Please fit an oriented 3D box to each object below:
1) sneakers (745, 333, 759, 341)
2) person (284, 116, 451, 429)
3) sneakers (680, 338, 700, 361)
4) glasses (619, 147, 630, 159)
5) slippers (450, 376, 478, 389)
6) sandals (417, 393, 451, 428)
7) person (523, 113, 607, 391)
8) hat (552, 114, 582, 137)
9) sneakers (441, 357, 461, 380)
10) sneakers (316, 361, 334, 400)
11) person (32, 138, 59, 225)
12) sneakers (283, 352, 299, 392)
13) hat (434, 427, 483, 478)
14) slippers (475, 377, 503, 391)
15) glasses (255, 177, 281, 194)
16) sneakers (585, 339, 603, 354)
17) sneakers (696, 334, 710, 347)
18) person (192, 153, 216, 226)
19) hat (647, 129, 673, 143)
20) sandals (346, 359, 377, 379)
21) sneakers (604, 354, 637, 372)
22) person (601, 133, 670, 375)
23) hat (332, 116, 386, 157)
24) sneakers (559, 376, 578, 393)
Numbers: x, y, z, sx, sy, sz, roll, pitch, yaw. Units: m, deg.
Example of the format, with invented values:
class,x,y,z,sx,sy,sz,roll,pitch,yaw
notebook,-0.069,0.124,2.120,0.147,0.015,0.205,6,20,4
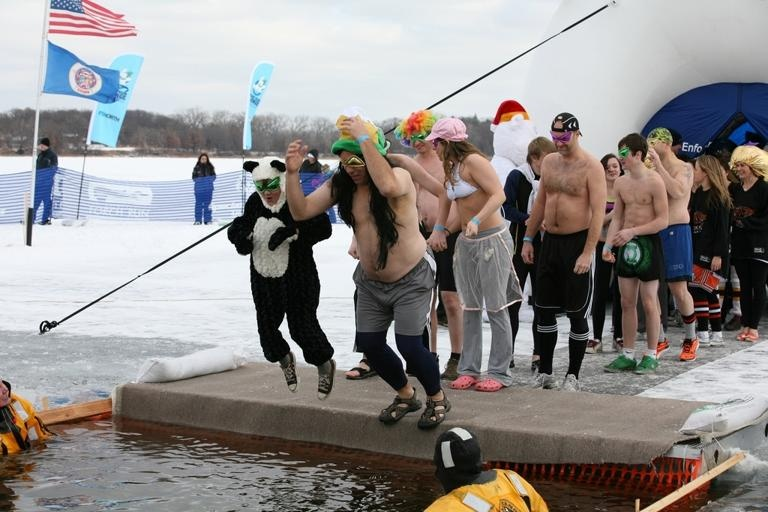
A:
class,x,y,z,sx,sy,sz,roll,pitch,yaw
sneakers,4.041,0.890,10.223,0.123,0.062,0.160,6,4,25
person,-0.072,0.133,7.098,1.306,2.368,0.492,5,4,3
sneakers,3.090,0.934,9.395,0.121,0.122,0.333,-3,10,26
glasses,2.280,-0.988,8.844,0.054,0.096,0.094,45,-12,-22
slippers,0.682,1.087,7.956,0.202,0.069,0.106,3,-16,-24
sandals,0.394,1.215,7.236,0.153,0.139,0.326,-6,8,19
person,1.500,-0.040,8.209,0.457,2.401,0.745,2,4,-33
hat,1.558,-1.156,8.030,0.230,0.188,0.227,4,4,3
sneakers,0.607,1.019,8.371,0.180,0.217,0.511,-1,-6,12
sneakers,-0.475,0.980,7.397,0.119,0.307,0.132,12,13,29
person,-7.744,-1.751,21.292,0.438,1.969,1.233,3,4,-20
sneakers,-0.766,0.923,7.413,0.111,0.307,0.130,-7,4,23
hat,0.452,1.211,5.829,0.239,0.244,0.306,-4,13,-23
slippers,0.891,1.090,7.863,0.257,0.100,0.161,4,4,6
glasses,-0.898,-0.564,7.181,0.196,0.124,0.108,4,4,-2
sneakers,2.198,0.950,9.741,0.128,0.128,0.316,-4,-8,16
sneakers,3.401,0.911,9.936,0.158,0.169,0.420,-1,-6,12
person,-4.576,-1.721,23.541,0.532,1.804,0.895,4,4,-10
hat,2.774,-1.220,9.329,0.197,0.190,0.225,3,12,2
sandals,-0.203,1.022,8.284,0.129,0.115,0.296,-2,-4,27
sneakers,2.281,1.044,8.954,0.356,0.145,0.132,0,1,-9
person,2.409,-0.021,8.886,0.560,2.263,0.383,6,4,17
hat,-0.174,-0.909,7.050,0.432,0.292,0.465,4,4,-2
sneakers,1.608,1.121,8.090,0.111,0.109,0.269,0,-6,11
